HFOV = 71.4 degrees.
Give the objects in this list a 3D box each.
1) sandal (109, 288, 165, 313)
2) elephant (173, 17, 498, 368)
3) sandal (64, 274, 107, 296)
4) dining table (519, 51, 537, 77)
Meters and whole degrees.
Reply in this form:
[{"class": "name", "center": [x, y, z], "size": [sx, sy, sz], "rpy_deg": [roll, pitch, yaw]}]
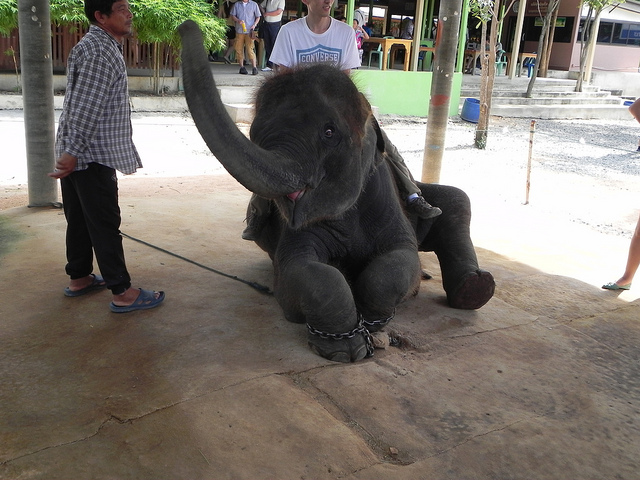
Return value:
[{"class": "sandal", "center": [-1.324, 0.413, 3.207], "size": [0.336, 0.118, 0.164], "rpy_deg": [-5, 21, -32]}, {"class": "elephant", "center": [-0.029, -0.012, 3.398], "size": [1.738, 2.069, 3.336], "rpy_deg": [-9, -10, 19]}, {"class": "sandal", "center": [-1.766, 0.342, 3.456], "size": [0.156, 0.121, 0.371], "rpy_deg": [8, 14, 23]}, {"class": "dining table", "center": [12.646, -10.843, 27.327], "size": [0.754, 1.492, 5.937], "rpy_deg": [11, 22, 20]}]
